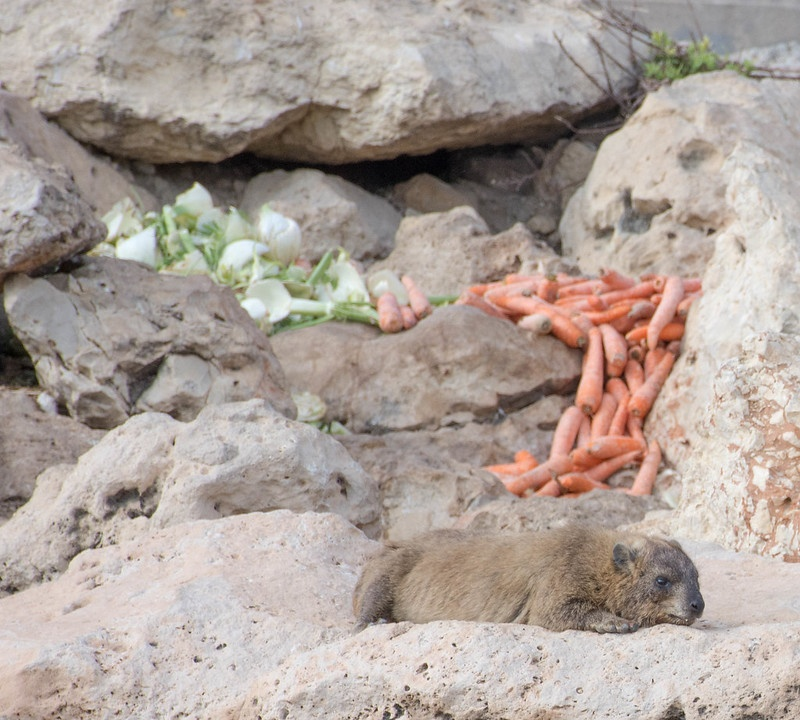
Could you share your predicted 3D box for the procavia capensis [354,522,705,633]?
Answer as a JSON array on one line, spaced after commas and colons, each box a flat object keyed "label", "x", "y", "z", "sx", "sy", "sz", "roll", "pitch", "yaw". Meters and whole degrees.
[{"label": "procavia capensis", "x": 0.799, "y": 1.330, "z": 14.558, "sx": 2.083, "sy": 0.517, "sz": 0.448, "roll": -2, "pitch": 19, "yaw": 7}]
